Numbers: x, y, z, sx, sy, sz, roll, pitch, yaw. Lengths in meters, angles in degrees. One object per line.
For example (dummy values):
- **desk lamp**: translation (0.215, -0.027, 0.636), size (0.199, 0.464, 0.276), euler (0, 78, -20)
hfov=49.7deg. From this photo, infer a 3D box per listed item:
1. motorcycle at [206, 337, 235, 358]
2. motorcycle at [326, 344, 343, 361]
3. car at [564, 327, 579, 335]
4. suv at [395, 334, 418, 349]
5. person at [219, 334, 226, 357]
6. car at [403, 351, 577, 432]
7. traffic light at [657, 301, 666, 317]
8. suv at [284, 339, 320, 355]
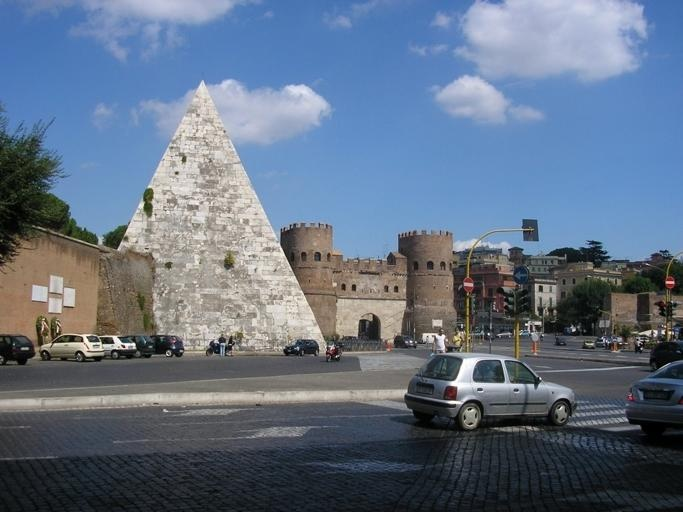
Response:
- **motorcycle**: translation (-6.818, 5.131, 41.661), size (1.655, 1.012, 0.830), euler (1, -9, 7)
- **motorcycle**: translation (-0.358, 4.842, 36.655), size (0.488, 0.591, 1.057), euler (2, -13, 19)
- **car**: translation (34.717, 11.332, 111.245), size (2.025, 1.311, 2.204), euler (-3, -7, 18)
- **suv**: translation (6.158, 8.394, 71.694), size (1.078, 0.908, 1.975), euler (2, -10, -22)
- **person**: translation (-6.651, 5.050, 41.384), size (0.337, 1.048, 0.850), euler (0, -7, -10)
- **car**: translation (2.862, 2.597, 14.632), size (2.612, 1.141, 1.520), euler (-1, -1, -21)
- **traffic light**: translation (16.875, 2.798, 38.777), size (0.301, 0.815, 1.035), euler (-3, -7, 23)
- **suv**: translation (-2.313, 5.436, 43.820), size (0.938, 0.970, 2.568), euler (-4, -8, 27)
